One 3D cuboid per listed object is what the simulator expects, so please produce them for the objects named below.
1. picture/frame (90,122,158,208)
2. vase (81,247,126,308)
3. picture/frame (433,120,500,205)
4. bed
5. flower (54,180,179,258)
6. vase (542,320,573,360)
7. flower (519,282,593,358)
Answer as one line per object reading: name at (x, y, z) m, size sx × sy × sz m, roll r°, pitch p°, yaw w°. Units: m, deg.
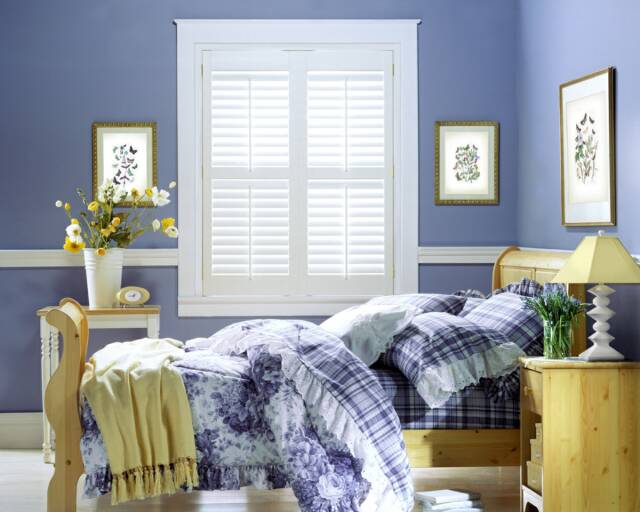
picture/frame at (-1.420, -0.654, 4.782) m, size 0.551 × 0.753 × 0.054 m, roll 0°, pitch 0°, yaw -5°
vase at (-1.433, 0.143, 4.480) m, size 0.326 × 0.494 × 0.330 m, roll 1°, pitch -2°, yaw -7°
picture/frame at (1.069, -0.713, 4.931) m, size 0.525 × 0.719 × 0.049 m, roll 0°, pitch 0°, yaw -3°
bed at (0.024, 0.677, 4.043) m, size 2.599 × 1.453 × 1.638 m, roll -2°, pitch 2°, yaw -7°
flower at (-1.362, -0.290, 4.723) m, size 0.705 × 0.382 × 0.607 m, roll 13°, pitch -23°, yaw 2°
vase at (1.170, 0.417, 3.321) m, size 0.154 × 0.203 × 0.163 m, roll 2°, pitch -5°, yaw -20°
flower at (1.159, 0.324, 3.472) m, size 0.307 × 0.400 × 0.338 m, roll 0°, pitch -1°, yaw -11°
